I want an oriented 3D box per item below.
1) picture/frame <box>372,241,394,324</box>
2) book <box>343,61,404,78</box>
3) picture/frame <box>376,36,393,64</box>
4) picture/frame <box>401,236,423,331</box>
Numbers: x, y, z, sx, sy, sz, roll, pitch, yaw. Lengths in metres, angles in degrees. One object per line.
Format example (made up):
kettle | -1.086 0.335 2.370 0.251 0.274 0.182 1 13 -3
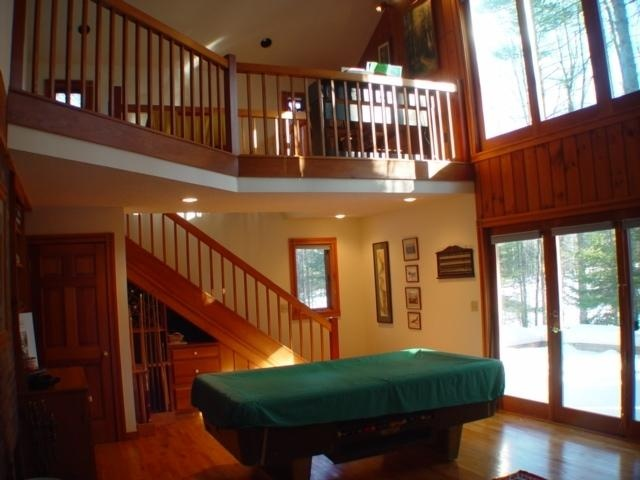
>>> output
picture/frame | 1.060 0.709 9.202 0.113 1.396 0.593 -1 -6 -16
book | 0.646 -2.209 7.109 0.629 0.164 0.598 -2 11 -29
picture/frame | 1.062 -3.138 8.937 0.047 0.460 0.419 0 -6 -23
picture/frame | 1.427 0.665 8.362 0.095 1.446 0.489 0 -6 -19
